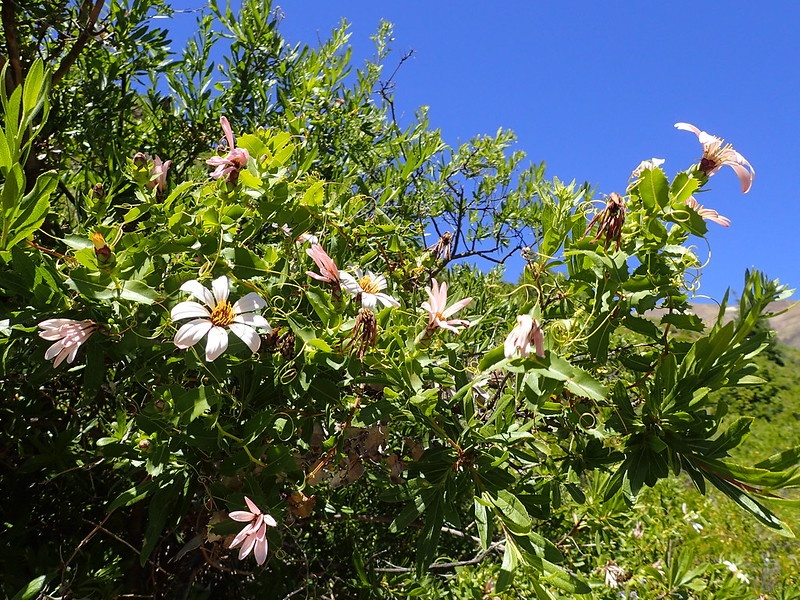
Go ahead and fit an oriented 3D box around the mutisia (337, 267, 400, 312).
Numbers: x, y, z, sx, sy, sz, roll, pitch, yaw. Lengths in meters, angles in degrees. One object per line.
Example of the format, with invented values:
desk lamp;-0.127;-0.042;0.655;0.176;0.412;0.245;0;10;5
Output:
mutisia;-0.094;-0.055;1.697;0.168;0.064;0.157;-7;-12;38

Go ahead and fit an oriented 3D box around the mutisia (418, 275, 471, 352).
mutisia;0.107;0.039;1.628;0.118;0.150;0.088;-15;-43;38

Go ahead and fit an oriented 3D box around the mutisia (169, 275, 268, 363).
mutisia;-0.439;0.053;1.469;0.245;0.256;0.095;27;-64;33

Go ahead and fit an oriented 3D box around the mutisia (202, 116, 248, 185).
mutisia;-0.486;-0.407;1.670;0.117;0.221;0.158;8;-5;-17

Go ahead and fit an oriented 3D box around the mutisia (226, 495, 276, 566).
mutisia;-0.369;0.577;1.528;0.106;0.061;0.120;18;-60;-13
